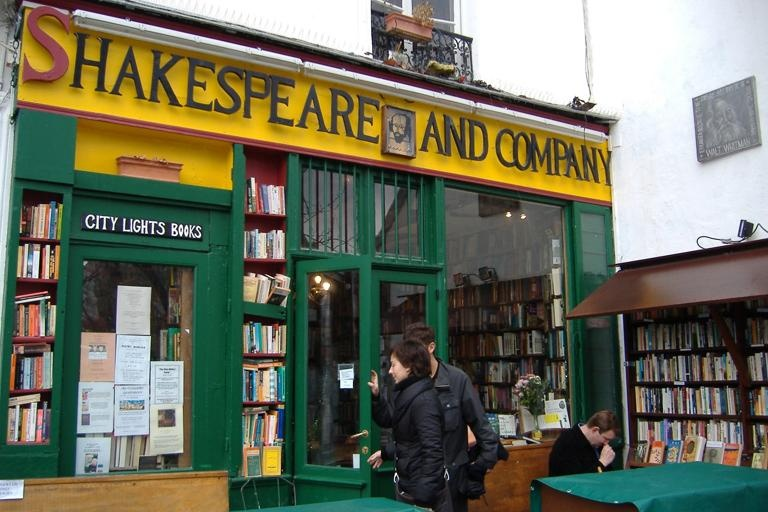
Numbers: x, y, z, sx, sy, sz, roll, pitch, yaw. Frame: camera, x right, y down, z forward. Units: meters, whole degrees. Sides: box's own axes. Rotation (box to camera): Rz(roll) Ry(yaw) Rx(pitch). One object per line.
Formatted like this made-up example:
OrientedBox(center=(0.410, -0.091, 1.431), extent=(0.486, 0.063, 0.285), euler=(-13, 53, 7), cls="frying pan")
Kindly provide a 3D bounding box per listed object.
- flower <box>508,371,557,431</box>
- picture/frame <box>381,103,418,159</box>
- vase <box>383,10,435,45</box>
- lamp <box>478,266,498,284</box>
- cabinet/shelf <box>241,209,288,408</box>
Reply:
OrientedBox(center=(1.807, 1.792, 8.496), extent=(0.419, 0.693, 0.357), euler=(-6, -15, 10), cls="flower")
OrientedBox(center=(0.164, -1.451, 8.096), extent=(0.558, 0.745, 0.183), euler=(7, -10, -29), cls="picture/frame")
OrientedBox(center=(0.322, -2.789, 8.451), extent=(0.798, 0.270, 0.286), euler=(8, -15, -35), cls="vase")
OrientedBox(center=(1.306, 0.230, 8.689), extent=(0.231, 0.237, 0.169), euler=(-6, 4, -31), cls="lamp")
OrientedBox(center=(-1.196, 0.635, 7.541), extent=(0.220, 2.100, 0.475), euler=(9, -9, -9), cls="cabinet/shelf")
